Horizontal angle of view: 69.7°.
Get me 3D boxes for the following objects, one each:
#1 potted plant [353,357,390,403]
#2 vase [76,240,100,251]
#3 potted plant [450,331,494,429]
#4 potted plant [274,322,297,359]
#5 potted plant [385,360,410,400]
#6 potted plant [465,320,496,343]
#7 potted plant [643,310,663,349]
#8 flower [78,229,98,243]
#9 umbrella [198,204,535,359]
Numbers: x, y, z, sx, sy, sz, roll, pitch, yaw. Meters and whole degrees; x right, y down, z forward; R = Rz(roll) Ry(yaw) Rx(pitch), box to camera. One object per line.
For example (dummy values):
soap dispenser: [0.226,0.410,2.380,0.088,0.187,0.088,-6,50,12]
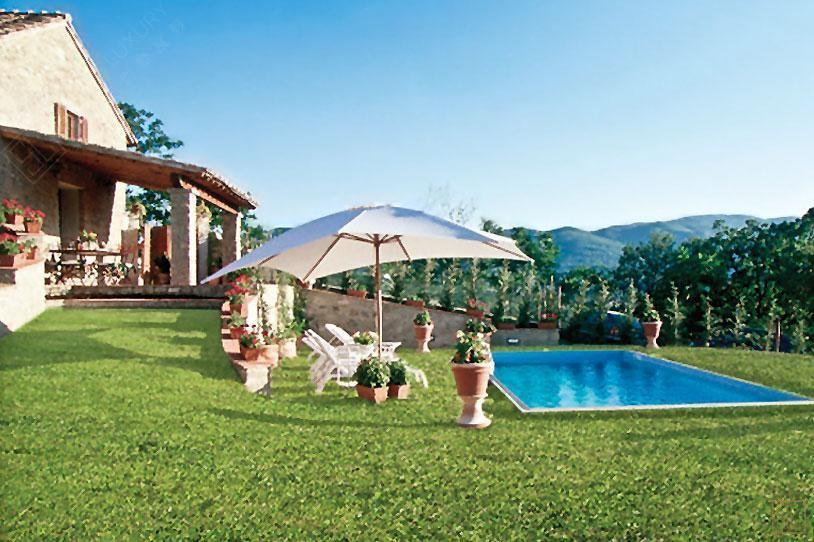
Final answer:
potted plant: [-0.735,2.429,12.957,0.619,0.806,0.778,-3,-5,44]
vase: [-11.554,-0.903,21.255,0.671,0.333,0.921,0,-5,-16]
potted plant: [1.330,2.191,11.947,0.827,1.859,0.890,3,-5,8]
potted plant: [-3.671,2.054,17.101,0.784,1.261,1.108,0,-4,0]
potted plant: [-0.231,2.526,13.234,0.742,1.001,0.617,1,-11,-7]
potted plant: [2.414,1.952,19.693,0.946,0.705,0.946,2,-9,-2]
potted plant: [8.778,2.040,20.982,0.568,1.407,2.027,1,-5,23]
flower: [-11.622,-1.261,21.291,0.643,0.450,0.639,-2,-6,-12]
umbrella: [-0.918,0.267,14.136,5.745,3.385,4.838,-1,-6,37]
